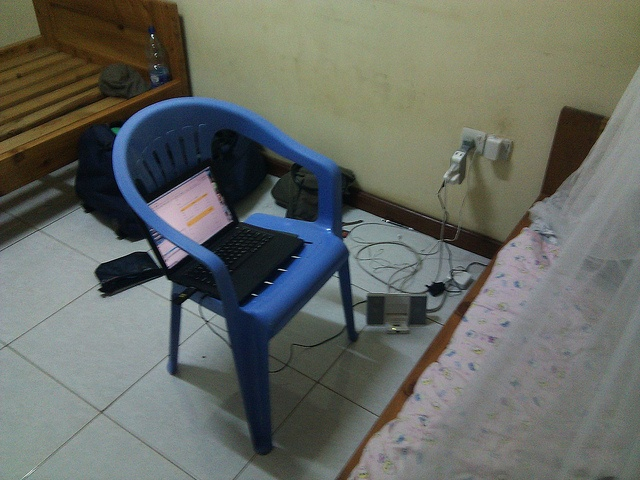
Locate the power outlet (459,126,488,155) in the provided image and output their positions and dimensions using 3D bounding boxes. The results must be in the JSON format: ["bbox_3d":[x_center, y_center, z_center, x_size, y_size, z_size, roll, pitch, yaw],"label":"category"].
[{"bbox_3d":[0.632,-0.418,2.247,0.116,0.100,0.030,23,28,35],"label":"power outlet"}]

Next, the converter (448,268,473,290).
[{"bbox_3d":[0.613,0.160,2.343,0.096,0.021,0.086,23,47,32],"label":"converter"}]

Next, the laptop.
[{"bbox_3d":[-0.370,0.056,1.940,0.512,0.330,0.481,26,55,21],"label":"laptop"}]

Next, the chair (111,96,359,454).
[{"bbox_3d":[-0.243,0.087,1.884,0.834,0.954,0.744,3,38,-1],"label":"chair"}]

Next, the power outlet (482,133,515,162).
[{"bbox_3d":[0.730,-0.383,2.209,0.095,0.088,0.050,21,44,23],"label":"power outlet"}]

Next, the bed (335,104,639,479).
[{"bbox_3d":[0.532,0.144,1.738,0.387,0.762,1.228,36,85,34],"label":"bed"}]

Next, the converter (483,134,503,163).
[{"bbox_3d":[0.707,-0.381,2.217,0.072,0.118,0.039,28,45,32],"label":"converter"}]
